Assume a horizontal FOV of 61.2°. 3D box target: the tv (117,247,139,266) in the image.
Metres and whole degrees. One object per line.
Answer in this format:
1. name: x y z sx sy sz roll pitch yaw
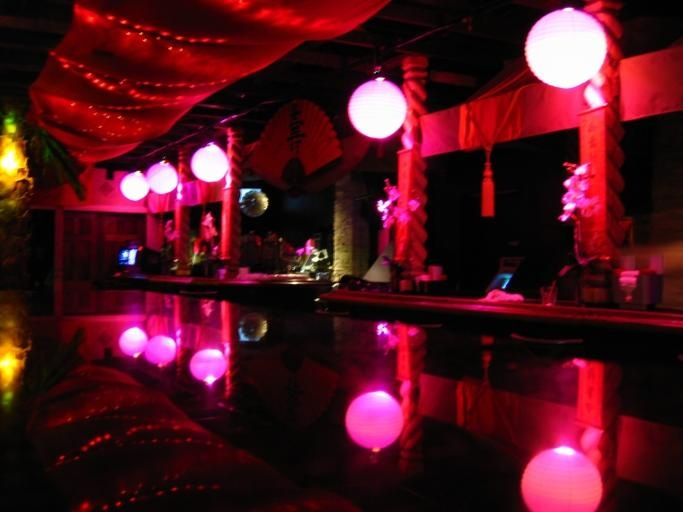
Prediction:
1. tv: -4.939 0.017 13.373 0.420 0.506 0.714 8 -9 -41
